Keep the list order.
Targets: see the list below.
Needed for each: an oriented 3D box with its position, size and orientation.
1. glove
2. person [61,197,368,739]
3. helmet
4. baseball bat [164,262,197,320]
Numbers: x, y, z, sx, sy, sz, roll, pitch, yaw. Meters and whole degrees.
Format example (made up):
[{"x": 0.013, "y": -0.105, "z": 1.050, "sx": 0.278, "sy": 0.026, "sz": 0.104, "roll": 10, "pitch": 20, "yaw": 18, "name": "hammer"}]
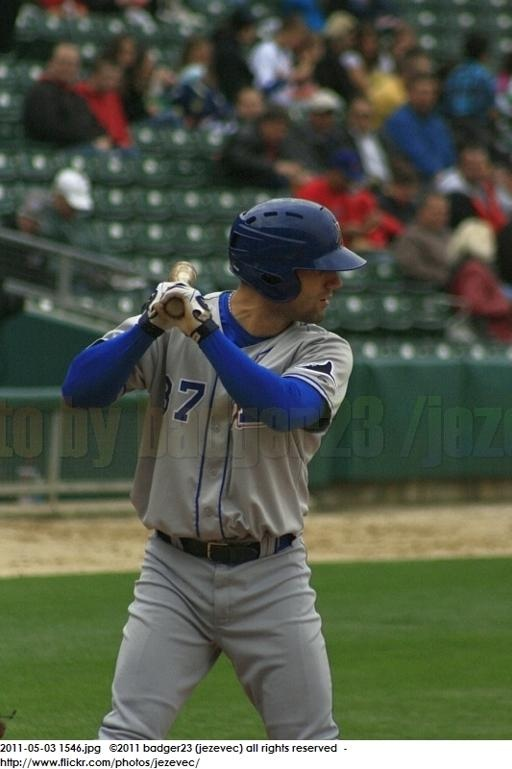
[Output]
[{"x": -0.145, "y": -0.134, "z": 2.035, "sx": 0.092, "sy": 0.141, "sz": 0.062, "roll": -24, "pitch": -42, "yaw": 13, "name": "glove"}, {"x": -0.077, "y": 0.209, "z": 2.218, "sx": 0.595, "sy": 1.148, "sz": 0.480, "roll": -1, "pitch": 13, "yaw": 3, "name": "person"}, {"x": 0.085, "y": -0.287, "z": 2.257, "sx": 0.288, "sy": 0.183, "sz": 0.206, "roll": 11, "pitch": 24, "yaw": 24, "name": "helmet"}, {"x": -0.151, "y": -0.229, "z": 2.406, "sx": 0.061, "sy": 0.064, "sz": 0.207, "roll": -4, "pitch": 21, "yaw": 8, "name": "baseball bat"}]
